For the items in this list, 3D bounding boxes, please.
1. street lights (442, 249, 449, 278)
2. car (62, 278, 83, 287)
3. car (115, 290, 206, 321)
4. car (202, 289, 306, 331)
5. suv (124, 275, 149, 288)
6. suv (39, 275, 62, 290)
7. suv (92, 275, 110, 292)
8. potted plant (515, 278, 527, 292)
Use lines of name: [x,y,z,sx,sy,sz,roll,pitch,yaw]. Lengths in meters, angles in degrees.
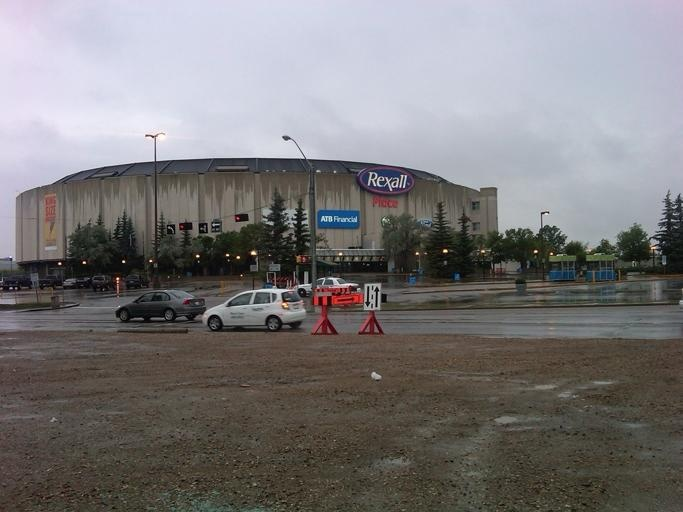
street lights: [14.008,0.557,85.299,0.581,2.930,0.646,-1,1,7]
car: [-35.154,3.381,83.519,1.645,1.233,2.837,0,-4,8]
car: [-7.907,2.195,28.087,3.344,1.103,1.568,1,-1,16]
car: [-3.011,1.964,22.700,2.884,1.245,1.671,2,-2,9]
suv: [-22.443,2.769,69.214,1.213,0.953,2.493,1,6,3]
suv: [-39.672,3.589,86.055,2.143,1.582,3.737,0,-4,-6]
suv: [-27.339,3.022,72.061,1.200,1.057,2.467,0,5,-3]
potted plant: [14.691,2.357,51.842,1.193,1.418,1.223,0,-1,22]
